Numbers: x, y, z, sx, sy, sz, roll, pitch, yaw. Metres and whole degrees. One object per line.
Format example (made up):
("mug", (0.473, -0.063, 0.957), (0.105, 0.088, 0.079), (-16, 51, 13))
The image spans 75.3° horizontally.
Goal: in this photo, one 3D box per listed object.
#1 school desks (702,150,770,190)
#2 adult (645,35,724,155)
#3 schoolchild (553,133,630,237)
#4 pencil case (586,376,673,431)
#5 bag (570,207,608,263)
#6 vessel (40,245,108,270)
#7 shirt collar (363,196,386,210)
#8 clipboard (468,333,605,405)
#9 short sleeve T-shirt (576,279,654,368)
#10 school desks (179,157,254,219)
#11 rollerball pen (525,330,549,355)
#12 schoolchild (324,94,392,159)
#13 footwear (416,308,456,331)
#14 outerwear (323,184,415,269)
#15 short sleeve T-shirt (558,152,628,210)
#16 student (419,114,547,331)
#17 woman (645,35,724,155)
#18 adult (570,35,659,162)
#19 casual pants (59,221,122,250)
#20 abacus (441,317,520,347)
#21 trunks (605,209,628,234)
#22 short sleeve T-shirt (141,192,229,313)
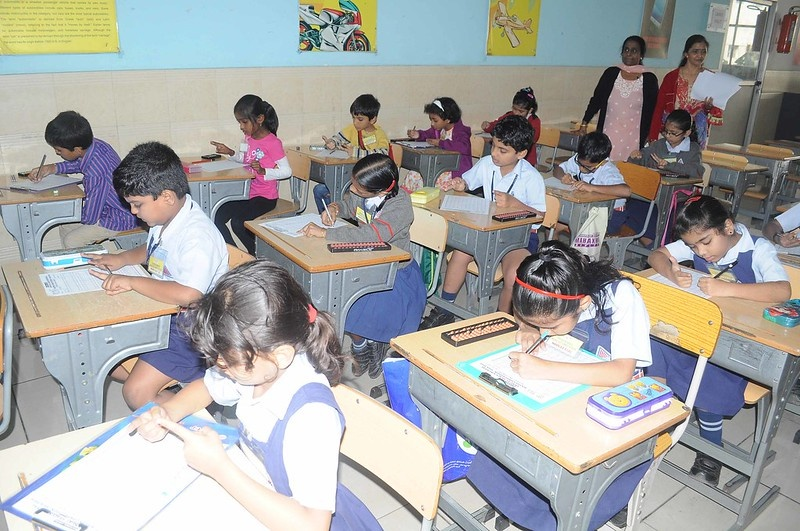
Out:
("school desks", (3.390, -0.988, 5.451), (0.424, 0.282, 0.692), (-1, 17, -17))
("adult", (3.155, -1.667, 5.693), (0.801, 1.620, 0.620), (5, 50, 25))
("schoolchild", (1.696, -0.692, 4.225), (0.548, 0.919, 0.836), (-11, -3, 33))
("pencil case", (0.799, 0.468, 1.793), (0.291, 0.065, 0.145), (-12, 21, -23))
("bag", (1.127, -0.186, 3.169), (0.208, 0.316, 0.117), (-2, 24, -8))
("vessel", (-1.549, -0.047, 2.449), (0.197, 0.049, 0.148), (-10, 21, -33))
("shirt collar", (-0.157, -0.387, 3.129), (0.059, 0.101, 0.074), (41, 34, 18))
("clipboard", (0.497, 0.371, 1.938), (0.454, 0.093, 0.351), (-17, 26, -31))
("short sleeve T-shirt", (0.808, 0.226, 1.986), (0.187, 0.316, 0.334), (-5, 8, -26))
("school desks", (-1.523, -0.515, 4.056), (0.510, 0.454, 0.376), (5, -6, 18))
("rollerball pen", (0.532, 0.301, 2.019), (0.109, 0.018, 0.021), (-44, 50, -10))
("schoolchild", (-0.433, -1.341, 4.912), (0.519, 0.525, 0.761), (-18, 27, -32))
("footwear", (0.247, 0.370, 3.644), (0.319, 0.133, 0.114), (-3, 13, -26))
("outerwear", (-0.196, -0.302, 3.219), (0.513, 0.530, 0.468), (-5, 27, -26))
("short sleeve T-shirt", (1.483, -0.784, 4.328), (0.510, 0.433, 0.236), (-14, 26, -7))
("student", (0.573, -0.286, 3.640), (0.901, 1.439, 0.860), (3, 13, 9))
("woman", (3.155, -1.645, 5.702), (0.847, 1.639, 0.644), (2, 47, 25))
("adult", (2.393, -1.640, 5.628), (0.732, 1.564, 0.568), (11, 45, 28))
("casual pants", (-2.105, -0.226, 3.575), (0.372, 0.122, 0.370), (8, 14, 28))
("abacus", (0.331, 0.267, 2.146), (0.319, 0.044, 0.120), (-13, 27, -25))
("trunks", (1.734, -0.361, 4.172), (0.081, 0.201, 0.203), (-11, 36, 28))
("short sleeve T-shirt", (-1.059, -0.083, 2.441), (0.533, 0.458, 0.267), (41, 42, 19))
